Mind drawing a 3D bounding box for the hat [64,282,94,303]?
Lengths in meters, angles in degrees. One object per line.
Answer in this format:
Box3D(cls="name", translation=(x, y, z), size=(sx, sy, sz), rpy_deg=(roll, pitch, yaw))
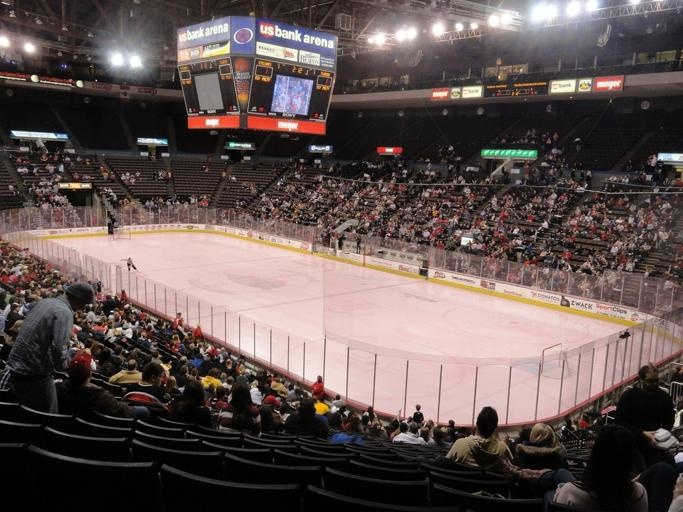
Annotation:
Box3D(cls="hat", translation=(-3.327, 0.479, 7.748), size=(0.312, 0.127, 0.287), rpy_deg=(16, 13, -33))
